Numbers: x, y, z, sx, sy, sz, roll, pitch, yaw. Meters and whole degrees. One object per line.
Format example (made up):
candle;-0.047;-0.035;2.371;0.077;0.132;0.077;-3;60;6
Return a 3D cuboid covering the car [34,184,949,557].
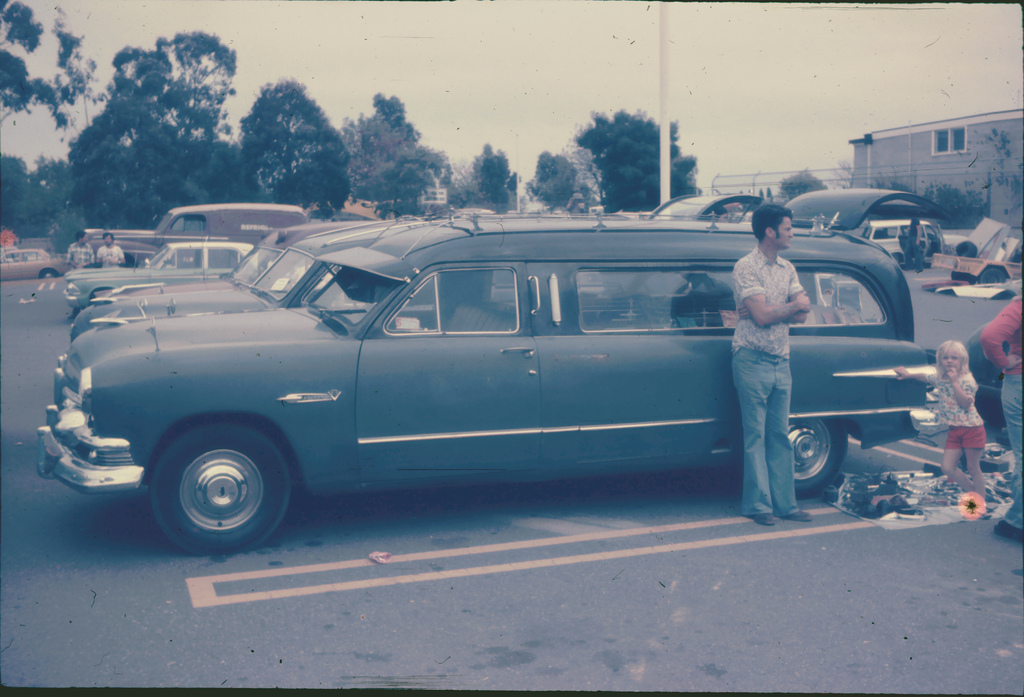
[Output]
car;0.090;0.196;9.551;7.506;2.461;3.108;0;4;-10

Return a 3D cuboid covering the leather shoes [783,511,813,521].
leather shoes;2.465;1.444;8.787;0.252;0.104;0.086;-4;7;16

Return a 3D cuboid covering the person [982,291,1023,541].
person;4.192;0.552;8.702;0.314;2.033;1.099;-2;9;24
